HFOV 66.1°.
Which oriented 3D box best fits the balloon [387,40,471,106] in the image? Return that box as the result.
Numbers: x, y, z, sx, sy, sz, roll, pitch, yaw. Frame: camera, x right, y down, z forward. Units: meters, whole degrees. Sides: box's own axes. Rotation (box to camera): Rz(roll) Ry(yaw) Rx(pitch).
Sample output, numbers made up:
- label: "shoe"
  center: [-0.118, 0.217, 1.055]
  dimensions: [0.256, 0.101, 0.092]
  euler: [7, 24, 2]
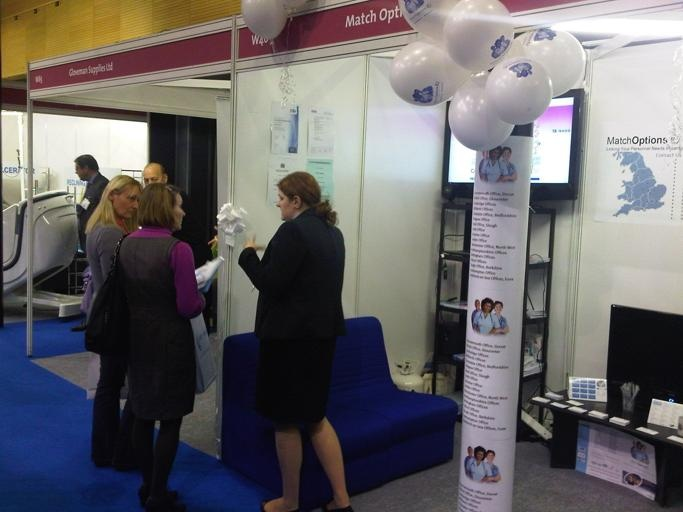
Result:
- label: "balloon"
  center: [0.500, -1.014, 2.850]
  dimensions: [0.399, 0.338, 0.339]
  euler: [-11, 44, 1]

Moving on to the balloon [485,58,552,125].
- label: "balloon"
  center: [0.814, -0.745, 2.515]
  dimensions: [0.274, 0.368, 0.285]
  euler: [0, -5, 15]

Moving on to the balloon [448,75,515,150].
- label: "balloon"
  center: [0.640, -0.691, 2.682]
  dimensions: [0.311, 0.427, 0.330]
  euler: [0, 3, -19]

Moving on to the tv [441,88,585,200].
- label: "tv"
  center: [1.149, -0.713, 3.310]
  dimensions: [0.895, 0.758, 0.095]
  euler: [6, 9, 35]
